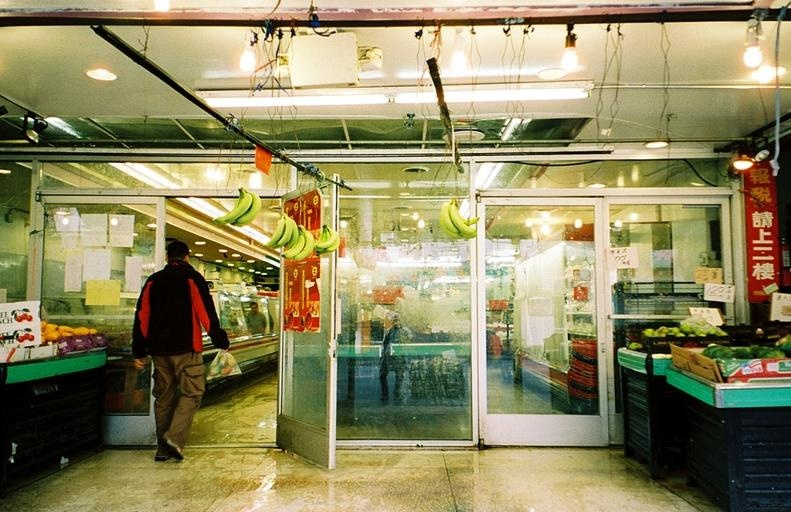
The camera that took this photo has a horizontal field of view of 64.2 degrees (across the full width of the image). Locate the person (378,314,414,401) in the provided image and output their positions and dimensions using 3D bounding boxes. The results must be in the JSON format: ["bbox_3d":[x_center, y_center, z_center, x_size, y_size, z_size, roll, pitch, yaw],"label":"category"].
[{"bbox_3d":[-0.009,1.267,7.967,0.402,1.079,0.141,0,3,-1],"label":"person"}]

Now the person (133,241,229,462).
[{"bbox_3d":[-2.552,1.111,7.378,0.960,2.546,0.537,-1,4,-21],"label":"person"}]

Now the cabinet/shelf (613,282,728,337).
[{"bbox_3d":[3.546,0.697,8.090,0.658,0.496,1.189,22,-13,-35],"label":"cabinet/shelf"}]

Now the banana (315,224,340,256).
[{"bbox_3d":[-0.758,-0.171,7.140,0.244,0.192,0.339,-22,33,14],"label":"banana"}]

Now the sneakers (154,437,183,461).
[{"bbox_3d":[-2.638,2.265,7.336,0.201,0.196,0.467,-5,-34,-6],"label":"sneakers"}]
